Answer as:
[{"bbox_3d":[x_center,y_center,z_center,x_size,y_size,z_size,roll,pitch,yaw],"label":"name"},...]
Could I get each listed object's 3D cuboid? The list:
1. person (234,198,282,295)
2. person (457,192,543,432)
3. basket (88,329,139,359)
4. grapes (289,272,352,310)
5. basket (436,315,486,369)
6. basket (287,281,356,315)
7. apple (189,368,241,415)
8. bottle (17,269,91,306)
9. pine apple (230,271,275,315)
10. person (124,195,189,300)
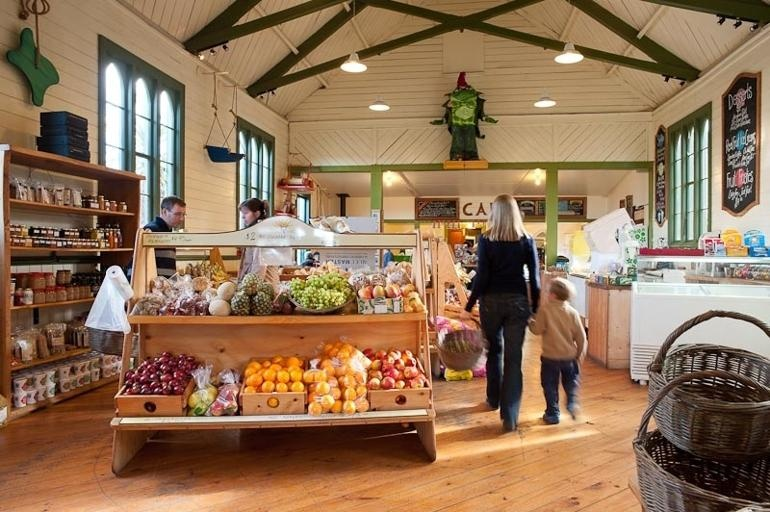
[{"bbox_3d":[-1.450,-0.115,5.923,0.598,1.189,0.480,1,8,3],"label":"person"},{"bbox_3d":[1.098,0.500,5.058,0.833,2.106,0.640,2,12,2],"label":"person"},{"bbox_3d":[-2.699,0.838,5.160,0.634,0.229,0.484,3,-7,-5],"label":"basket"},{"bbox_3d":[-0.553,0.270,4.514,0.557,0.286,0.440,1,5,-2],"label":"grapes"},{"bbox_3d":[0.667,0.802,4.958,0.453,0.562,0.571,2,4,-8],"label":"basket"},{"bbox_3d":[-0.539,0.348,4.434,0.549,0.274,0.207,-1,12,-7],"label":"basket"},{"bbox_3d":[-1.428,1.118,4.417,0.419,0.302,0.398,-1,11,-5],"label":"apple"},{"bbox_3d":[-3.575,0.317,5.652,0.311,0.406,0.853,6,12,26],"label":"bottle"},{"bbox_3d":[-1.104,0.344,4.399,0.227,0.266,0.364,7,4,-16],"label":"pine apple"},{"bbox_3d":[-2.665,0.109,6.225,0.472,1.588,0.765,5,6,1],"label":"person"}]
